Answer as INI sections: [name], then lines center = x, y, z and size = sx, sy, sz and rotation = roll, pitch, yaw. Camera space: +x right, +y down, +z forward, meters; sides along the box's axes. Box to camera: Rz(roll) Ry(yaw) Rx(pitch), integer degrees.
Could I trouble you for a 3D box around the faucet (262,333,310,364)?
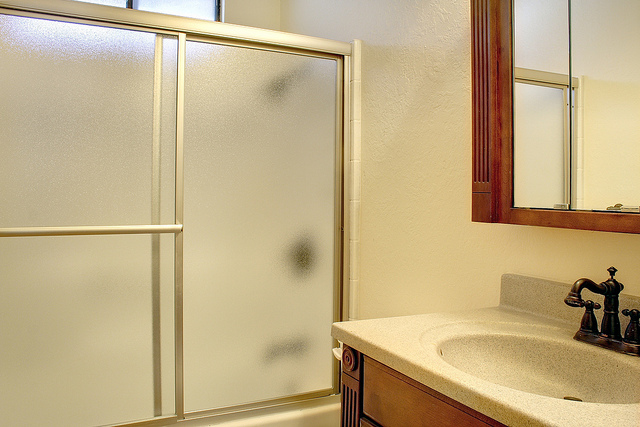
[faucet]
center = -0.181, 0.713, 2.741
size = 0.250, 0.073, 0.128
rotation = -5, -79, -5
